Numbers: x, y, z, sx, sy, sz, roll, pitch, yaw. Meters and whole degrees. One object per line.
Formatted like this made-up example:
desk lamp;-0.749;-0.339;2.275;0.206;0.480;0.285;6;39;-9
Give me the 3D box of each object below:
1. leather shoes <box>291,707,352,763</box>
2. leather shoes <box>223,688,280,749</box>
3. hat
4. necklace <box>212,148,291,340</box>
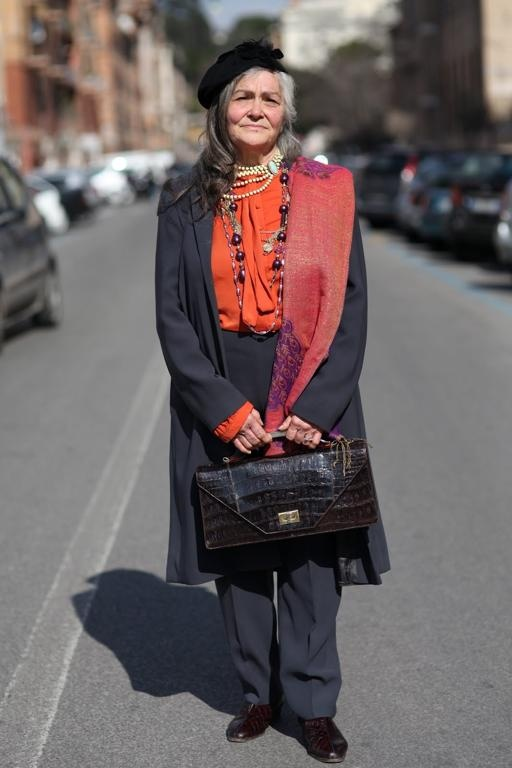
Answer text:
leather shoes;0.167;0.849;1.604;0.050;0.054;0.133;-11;2;-10
leather shoes;-0.019;0.892;1.771;0.055;0.057;0.149;9;19;26
hat;-0.037;-0.833;1.711;0.193;0.080;0.203;-30;18;-31
necklace;-0.016;-0.355;1.652;0.191;0.452;0.141;-1;3;2
